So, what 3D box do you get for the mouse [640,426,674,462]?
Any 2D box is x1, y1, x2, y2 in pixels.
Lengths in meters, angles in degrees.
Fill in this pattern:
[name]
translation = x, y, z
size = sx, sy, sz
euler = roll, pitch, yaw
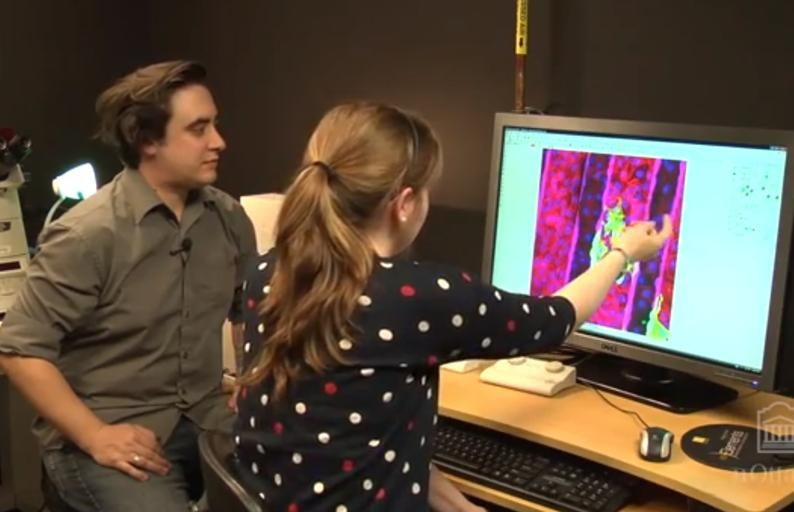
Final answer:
[mouse]
translation = 0.682, 0.483, 1.631
size = 0.075, 0.036, 0.132
euler = -5, 23, 33
